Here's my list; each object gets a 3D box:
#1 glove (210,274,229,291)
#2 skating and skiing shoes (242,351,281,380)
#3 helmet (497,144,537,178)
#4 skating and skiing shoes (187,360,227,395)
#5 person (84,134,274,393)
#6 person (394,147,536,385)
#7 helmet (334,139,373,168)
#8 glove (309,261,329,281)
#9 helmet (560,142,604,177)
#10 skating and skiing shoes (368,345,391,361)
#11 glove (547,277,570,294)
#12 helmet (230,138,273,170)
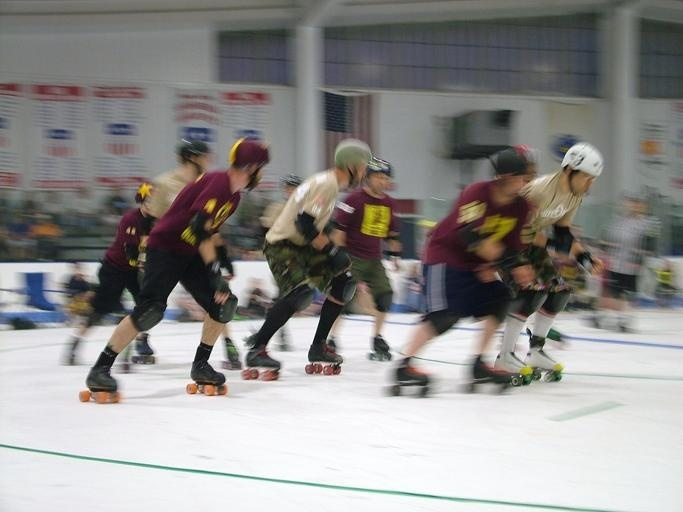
[{"bbox_3d":[-0.890,0.203,6.285,0.121,0.118,0.107,-5,-3,32],"label":"glove"},{"bbox_3d":[-0.629,0.866,6.797,0.306,0.292,0.208,-1,1,3],"label":"skating and skiing shoes"},{"bbox_3d":[1.233,-0.654,6.019,0.193,0.199,0.267,6,29,46],"label":"helmet"},{"bbox_3d":[-1.002,0.907,6.323,0.300,0.233,0.203,1,-3,31],"label":"skating and skiing shoes"},{"bbox_3d":[-1.237,0.106,6.214,1.336,1.983,0.895,1,4,-17],"label":"person"},{"bbox_3d":[1.006,0.135,6.215,0.929,1.909,0.887,3,5,-19],"label":"person"},{"bbox_3d":[0.097,-0.783,6.645,0.268,0.204,0.311,1,7,1],"label":"helmet"},{"bbox_3d":[-0.173,0.125,6.688,0.149,0.137,0.035,1,11,-24],"label":"glove"},{"bbox_3d":[1.802,-0.713,6.336,0.282,0.244,0.299,3,8,14],"label":"helmet"},{"bbox_3d":[0.328,0.858,7.605,0.181,0.176,0.127,-1,2,26],"label":"skating and skiing shoes"},{"bbox_3d":[1.707,0.229,6.603,0.124,0.081,0.160,4,6,30],"label":"glove"},{"bbox_3d":[-0.658,-0.725,6.191,0.261,0.234,0.190,-8,22,-21],"label":"helmet"}]
